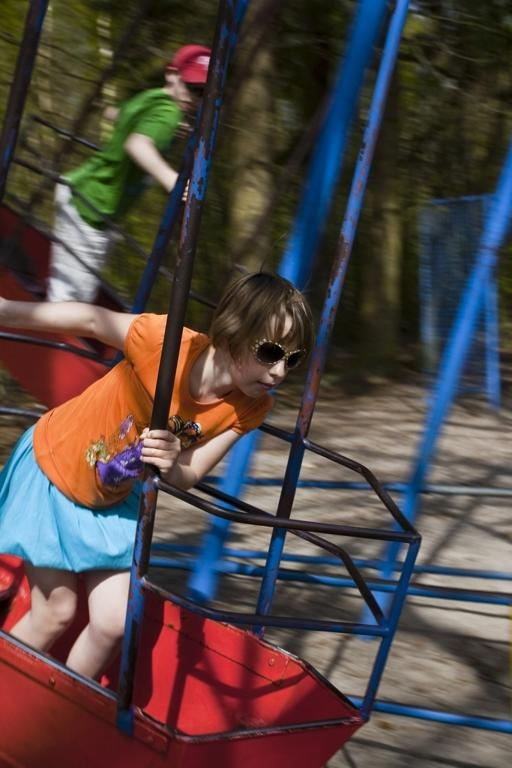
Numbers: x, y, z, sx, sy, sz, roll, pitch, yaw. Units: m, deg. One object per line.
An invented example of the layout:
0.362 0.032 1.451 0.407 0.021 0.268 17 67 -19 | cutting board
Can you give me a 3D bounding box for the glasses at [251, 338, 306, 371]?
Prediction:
0.035 -0.040 0.999 0.083 0.041 0.027 16 6 -42 | glasses
